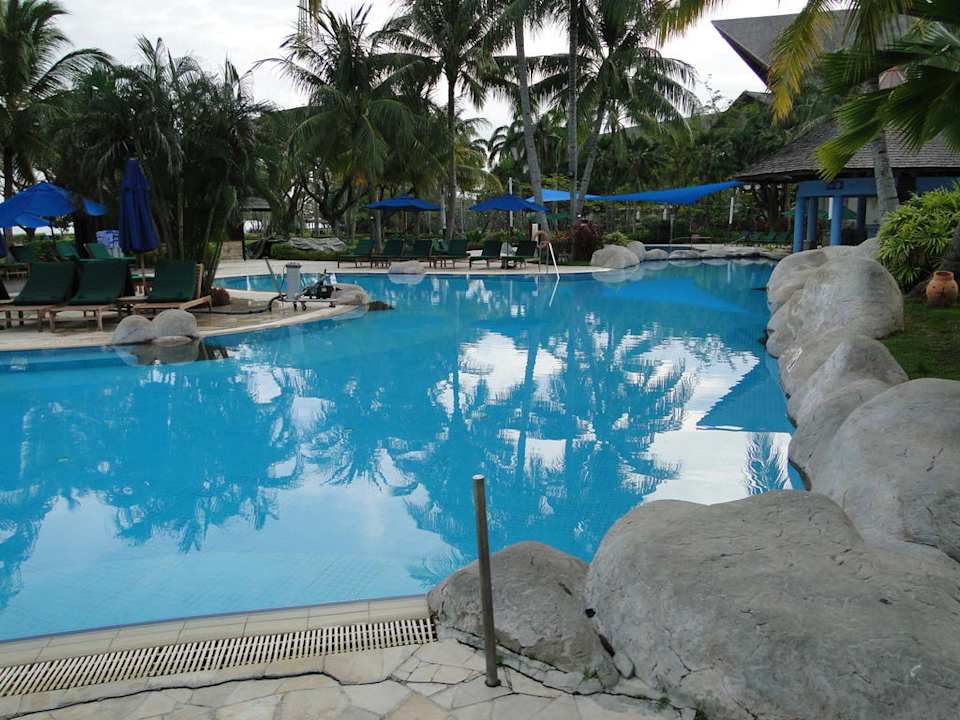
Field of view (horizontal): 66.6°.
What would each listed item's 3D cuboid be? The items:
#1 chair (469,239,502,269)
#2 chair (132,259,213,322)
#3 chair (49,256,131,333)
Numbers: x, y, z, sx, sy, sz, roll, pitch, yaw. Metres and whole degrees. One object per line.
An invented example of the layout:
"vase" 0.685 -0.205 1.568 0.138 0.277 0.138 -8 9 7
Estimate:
"chair" 0.321 -4.153 28.827 1.114 1.230 1.856 3 8 19
"chair" -5.984 -1.417 14.399 0.818 0.931 1.377 1 13 3
"chair" -7.390 -1.235 13.798 1.027 1.376 1.717 0 8 1
